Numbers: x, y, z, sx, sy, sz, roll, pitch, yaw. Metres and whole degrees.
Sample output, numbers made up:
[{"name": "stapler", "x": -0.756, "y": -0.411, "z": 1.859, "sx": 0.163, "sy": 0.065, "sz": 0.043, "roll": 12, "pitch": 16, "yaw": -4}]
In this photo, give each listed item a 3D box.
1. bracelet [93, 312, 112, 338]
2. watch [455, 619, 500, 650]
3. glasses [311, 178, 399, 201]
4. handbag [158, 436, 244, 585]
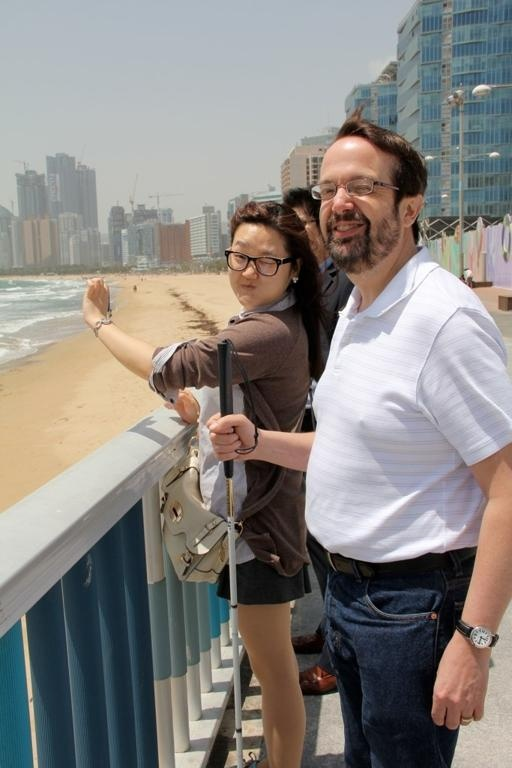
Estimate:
[{"name": "bracelet", "x": -0.576, "y": -0.222, "z": 2.161, "sx": 0.035, "sy": 0.093, "sz": 0.079, "roll": 37, "pitch": 25, "yaw": 16}, {"name": "watch", "x": 0.386, "y": 0.441, "z": 1.009, "sx": 0.068, "sy": 0.050, "sz": 0.045, "roll": 10, "pitch": 8, "yaw": 23}, {"name": "glasses", "x": 0.244, "y": -0.426, "z": 1.301, "sx": 0.102, "sy": 0.029, "sz": 0.106, "roll": 3, "pitch": 0, "yaw": 44}, {"name": "handbag", "x": -0.149, "y": 0.358, "z": 1.609, "sx": 0.166, "sy": 0.340, "sz": 0.325, "roll": 6, "pitch": 41, "yaw": -32}]
